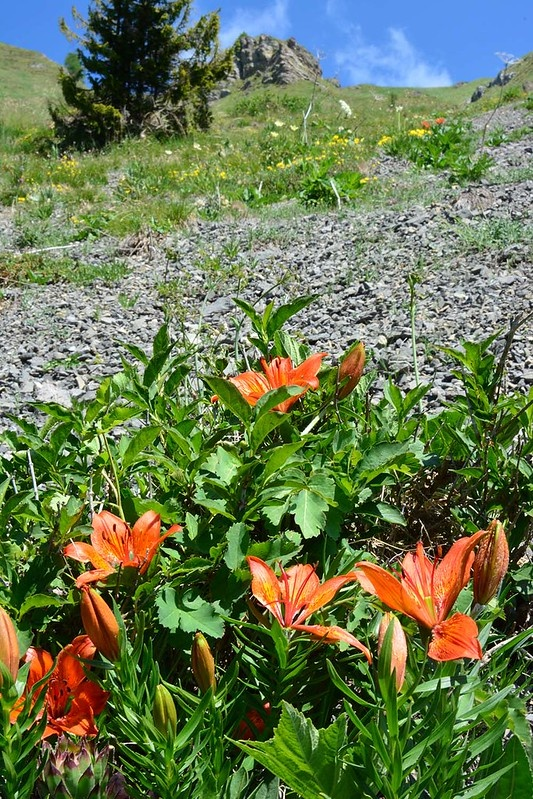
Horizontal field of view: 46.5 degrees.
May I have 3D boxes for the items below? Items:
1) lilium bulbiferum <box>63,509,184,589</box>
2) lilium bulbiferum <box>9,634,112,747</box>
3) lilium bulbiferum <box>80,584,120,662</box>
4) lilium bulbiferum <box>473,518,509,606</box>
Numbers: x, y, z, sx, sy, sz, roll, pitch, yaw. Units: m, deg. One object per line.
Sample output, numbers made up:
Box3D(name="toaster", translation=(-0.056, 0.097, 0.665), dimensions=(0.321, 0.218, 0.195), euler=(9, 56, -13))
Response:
Box3D(name="lilium bulbiferum", translation=(-0.216, 0.205, 0.881), dimensions=(0.145, 0.075, 0.132), euler=(-17, 9, -10))
Box3D(name="lilium bulbiferum", translation=(-0.260, 0.363, 0.794), dimensions=(0.110, 0.135, 0.169), euler=(-2, 16, -15))
Box3D(name="lilium bulbiferum", translation=(-0.195, 0.265, 0.732), dimensions=(0.052, 0.084, 0.030), euler=(4, 16, 7))
Box3D(name="lilium bulbiferum", translation=(0.273, 0.206, 0.766), dimensions=(0.038, 0.115, 0.034), euler=(11, 17, 27))
